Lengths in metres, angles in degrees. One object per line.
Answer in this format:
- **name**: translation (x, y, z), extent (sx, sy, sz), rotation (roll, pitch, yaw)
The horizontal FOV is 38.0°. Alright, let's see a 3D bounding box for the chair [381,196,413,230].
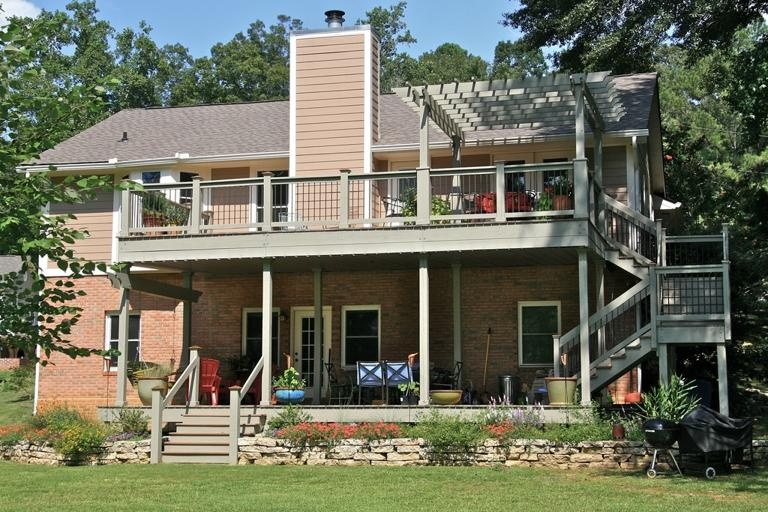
- **chair**: translation (0.325, -1.323, 33.662), extent (1.002, 1.275, 1.086), rotation (0, -1, 3)

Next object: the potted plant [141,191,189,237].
- **potted plant**: translation (-6.744, -1.265, 33.917), extent (1.256, 0.552, 1.527), rotation (0, -8, 5)

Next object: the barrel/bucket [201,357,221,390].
- **barrel/bucket**: translation (-5.293, 3.538, 33.645), extent (0.752, 1.016, 0.766), rotation (0, -3, 0)

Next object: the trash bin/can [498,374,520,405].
- **trash bin/can**: translation (3.639, 3.863, 32.380), extent (0.863, 1.048, 0.746), rotation (1, -9, -8)

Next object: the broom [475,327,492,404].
- **broom**: translation (3.144, 3.448, 34.276), extent (0.177, 2.666, 0.485), rotation (11, -18, -15)

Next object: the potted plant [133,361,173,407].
- **potted plant**: translation (-7.040, 3.785, 33.118), extent (1.233, 1.252, 1.194), rotation (0, -9, -5)

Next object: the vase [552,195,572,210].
- **vase**: translation (5.078, -1.557, 32.251), extent (0.545, 0.498, 0.539), rotation (-3, -4, 28)

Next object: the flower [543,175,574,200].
- **flower**: translation (5.194, -2.070, 33.165), extent (0.869, 0.573, 0.846), rotation (0, -3, -25)

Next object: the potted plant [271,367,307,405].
- **potted plant**: translation (-2.766, 3.733, 32.017), extent (0.829, 1.153, 0.908), rotation (2, -13, -10)

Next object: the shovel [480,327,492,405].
- **shovel**: translation (3.154, 3.434, 34.294), extent (0.193, 2.593, 0.470), rotation (11, -13, -24)

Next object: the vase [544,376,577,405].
- **vase**: translation (4.828, 3.676, 30.256), extent (0.768, 0.556, 0.745), rotation (0, -12, 0)

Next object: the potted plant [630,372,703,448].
- **potted plant**: translation (7.384, 4.177, 29.153), extent (1.630, 2.427, 2.028), rotation (5, -25, 7)
